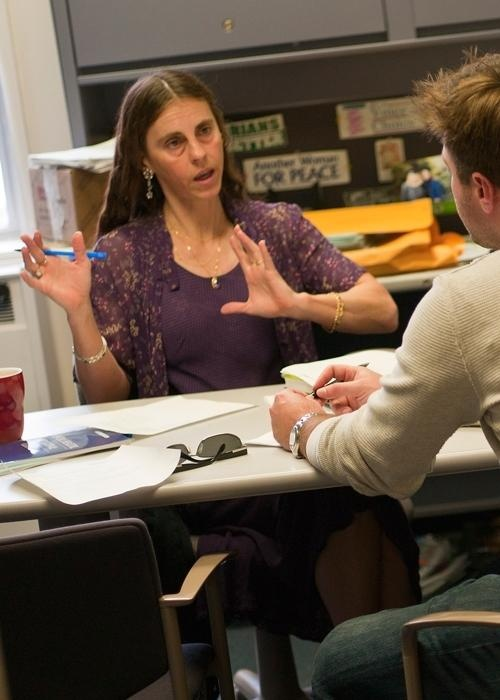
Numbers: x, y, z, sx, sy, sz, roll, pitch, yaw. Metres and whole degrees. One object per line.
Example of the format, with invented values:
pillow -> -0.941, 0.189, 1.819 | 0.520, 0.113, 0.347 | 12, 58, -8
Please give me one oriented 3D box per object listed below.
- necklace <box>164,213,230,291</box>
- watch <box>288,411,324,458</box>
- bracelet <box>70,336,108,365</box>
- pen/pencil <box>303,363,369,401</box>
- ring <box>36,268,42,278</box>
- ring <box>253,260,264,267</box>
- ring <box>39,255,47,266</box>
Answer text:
necklace -> -0.140, -0.260, 1.629 | 0.172, 0.200, 0.064 | -10, -20, -22
watch -> 0.083, 0.117, 0.866 | 0.016, 0.052, 0.051 | 21, 40, -6
bracelet -> -0.351, -0.004, 1.441 | 0.070, 0.055, 0.138 | -2, 9, 16
pen/pencil -> 0.139, 0.052, 1.015 | 0.106, 0.025, 0.014 | -22, -28, -2
ring -> -0.424, -0.153, 1.271 | 0.009, 0.018, 0.015 | -2, 10, 22
ring -> 0.019, -0.190, 1.385 | 0.021, 0.008, 0.022 | -1, 0, 0
ring -> -0.416, -0.179, 1.275 | 0.018, 0.017, 0.021 | -4, 18, 1
